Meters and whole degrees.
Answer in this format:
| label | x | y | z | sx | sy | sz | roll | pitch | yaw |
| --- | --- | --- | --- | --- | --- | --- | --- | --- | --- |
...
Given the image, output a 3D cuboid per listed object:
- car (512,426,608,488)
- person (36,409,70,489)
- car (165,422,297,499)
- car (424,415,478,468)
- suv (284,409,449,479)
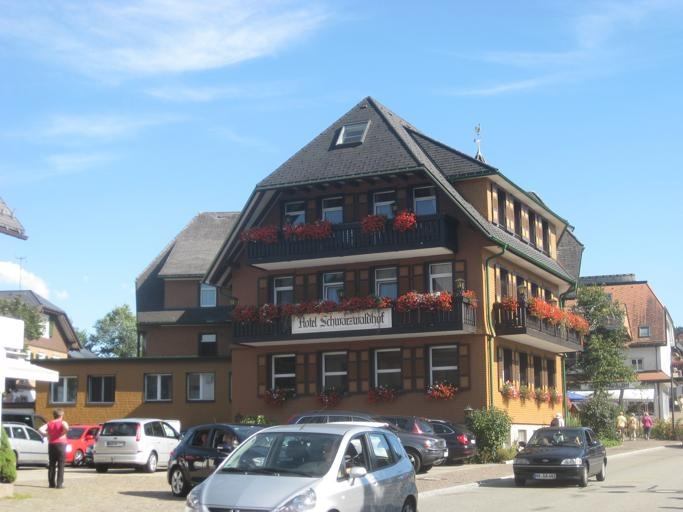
| label | x | y | z | sx | sy | sz | roll | pitch | yaw |
| --- | --- | --- | --- | --- | --- | --- | --- | --- | --- |
| car | 7.941 | 7.136 | 40.742 | 2.727 | 2.043 | 4.643 | -4 | -8 | 30 |
| person | -9.492 | 6.421 | 38.008 | 1.016 | 2.634 | 0.754 | -4 | -14 | 10 |
| car | -4.452 | 6.549 | 36.937 | 2.997 | 1.606 | 1.871 | -9 | -11 | 29 |
| car | 4.616 | 7.633 | 46.841 | 1.617 | 2.150 | 1.770 | -9 | -9 | 38 |
| suv | 1.044 | 6.863 | 42.359 | 5.452 | 2.205 | 2.638 | -3 | -6 | 7 |
